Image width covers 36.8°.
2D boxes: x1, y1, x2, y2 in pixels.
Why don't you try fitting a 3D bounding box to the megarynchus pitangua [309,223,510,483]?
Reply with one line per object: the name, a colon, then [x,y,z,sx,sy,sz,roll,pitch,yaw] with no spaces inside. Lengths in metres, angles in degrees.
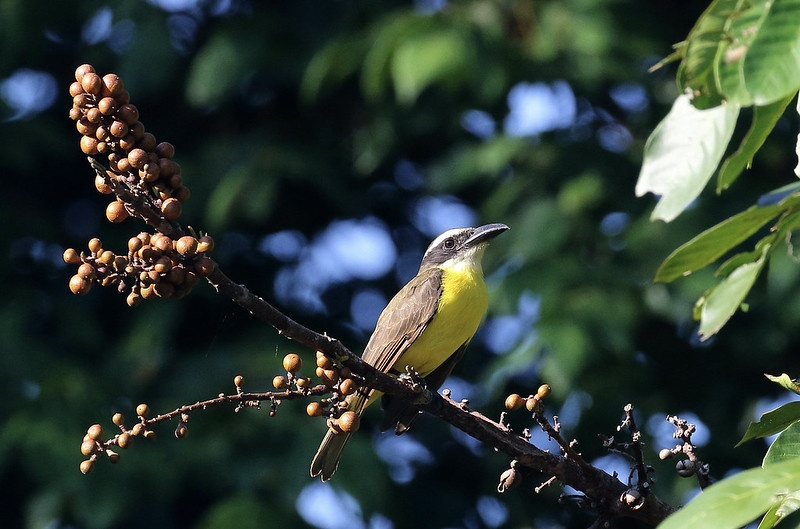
megarynchus pitangua: [0.066,0.686,10.386,1.708,1.827,0.769,-21,-41,24]
